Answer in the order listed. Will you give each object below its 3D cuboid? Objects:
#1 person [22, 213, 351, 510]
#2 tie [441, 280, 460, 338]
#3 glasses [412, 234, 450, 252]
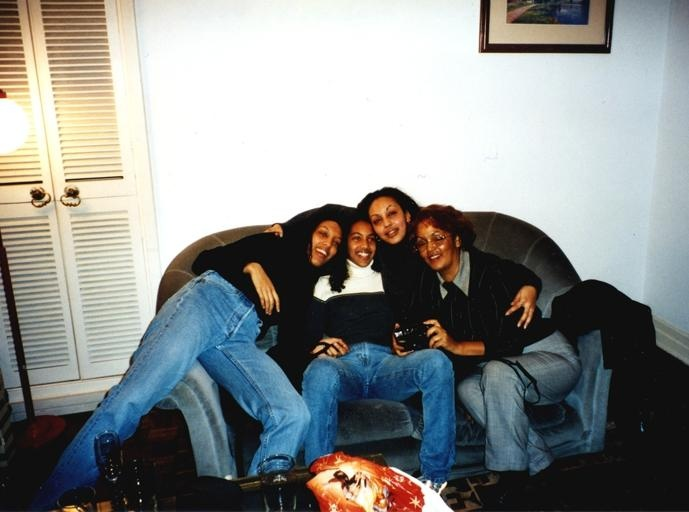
[{"bbox_3d":[-0.557,0.353,2.351,1.144,0.949,0.890,-1,13,0],"label":"person"},{"bbox_3d":[0.509,0.248,2.544,0.153,0.202,0.049,-5,5,-40],"label":"tie"},{"bbox_3d":[0.429,-0.064,2.588,0.111,0.109,0.038,-3,26,9],"label":"glasses"}]
